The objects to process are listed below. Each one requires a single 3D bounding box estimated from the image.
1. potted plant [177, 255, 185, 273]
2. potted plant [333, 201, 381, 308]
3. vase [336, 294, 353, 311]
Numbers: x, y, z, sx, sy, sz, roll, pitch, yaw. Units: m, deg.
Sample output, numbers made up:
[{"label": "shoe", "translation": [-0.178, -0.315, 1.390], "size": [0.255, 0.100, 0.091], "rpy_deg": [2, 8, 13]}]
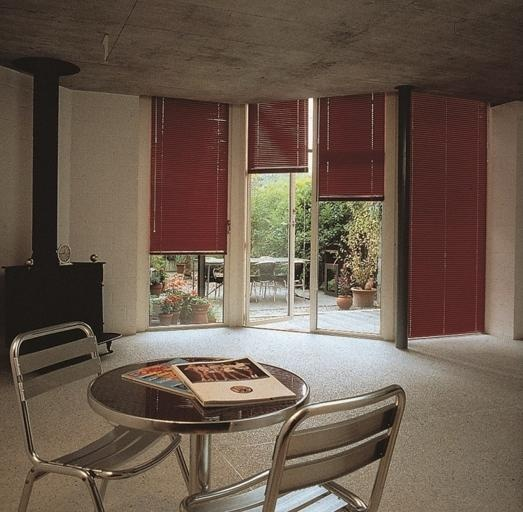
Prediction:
[{"label": "potted plant", "translation": [-1.010, 0.110, 5.806], "size": [0.123, 0.230, 0.043], "rpy_deg": [1, 3, -15]}, {"label": "potted plant", "translation": [1.219, 0.055, 6.015], "size": [0.513, 1.442, 1.070], "rpy_deg": [2, 3, 9]}, {"label": "vase", "translation": [1.161, 0.668, 6.594], "size": [0.223, 0.154, 0.209], "rpy_deg": [1, 4, -27]}]
